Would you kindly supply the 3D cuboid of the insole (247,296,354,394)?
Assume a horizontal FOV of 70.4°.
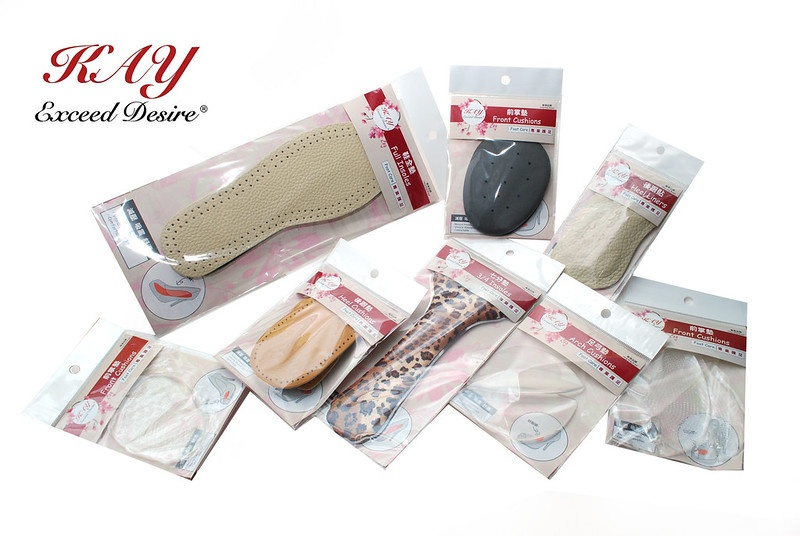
[{"bbox_3d":[-0.578,0.464,3.513,0.493,0.149,0.699,23,47,20],"label":"insole"}]
